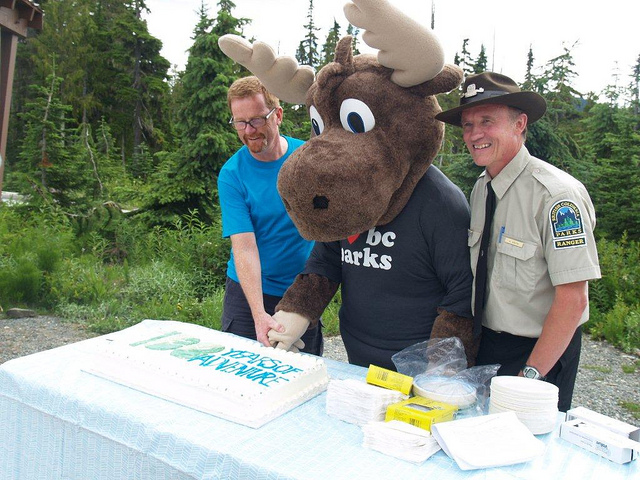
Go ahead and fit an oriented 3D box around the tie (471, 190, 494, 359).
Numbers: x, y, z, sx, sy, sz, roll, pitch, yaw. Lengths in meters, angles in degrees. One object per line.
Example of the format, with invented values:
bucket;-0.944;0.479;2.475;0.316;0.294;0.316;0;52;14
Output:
tie;0.973;0.031;3.391;0.184;1.093;0.085;5;-15;15

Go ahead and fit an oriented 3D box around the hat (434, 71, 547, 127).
hat;1.060;-0.920;3.520;0.660;0.250;0.549;-2;7;-28
